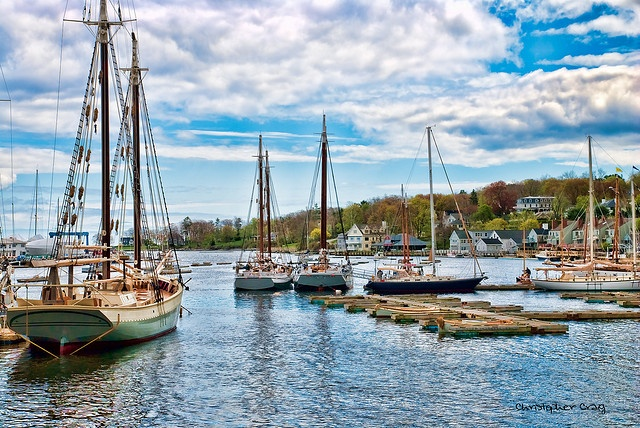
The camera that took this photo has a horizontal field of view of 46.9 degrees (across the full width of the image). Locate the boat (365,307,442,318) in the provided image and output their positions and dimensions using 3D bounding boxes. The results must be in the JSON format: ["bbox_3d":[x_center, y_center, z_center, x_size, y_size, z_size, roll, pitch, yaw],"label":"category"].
[{"bbox_3d":[7.742,8.935,66.518,4.742,0.814,1.005,0,1,-6],"label":"boat"}]

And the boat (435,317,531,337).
[{"bbox_3d":[13.373,8.954,60.087,7.421,1.235,2.389,0,9,-2],"label":"boat"}]
